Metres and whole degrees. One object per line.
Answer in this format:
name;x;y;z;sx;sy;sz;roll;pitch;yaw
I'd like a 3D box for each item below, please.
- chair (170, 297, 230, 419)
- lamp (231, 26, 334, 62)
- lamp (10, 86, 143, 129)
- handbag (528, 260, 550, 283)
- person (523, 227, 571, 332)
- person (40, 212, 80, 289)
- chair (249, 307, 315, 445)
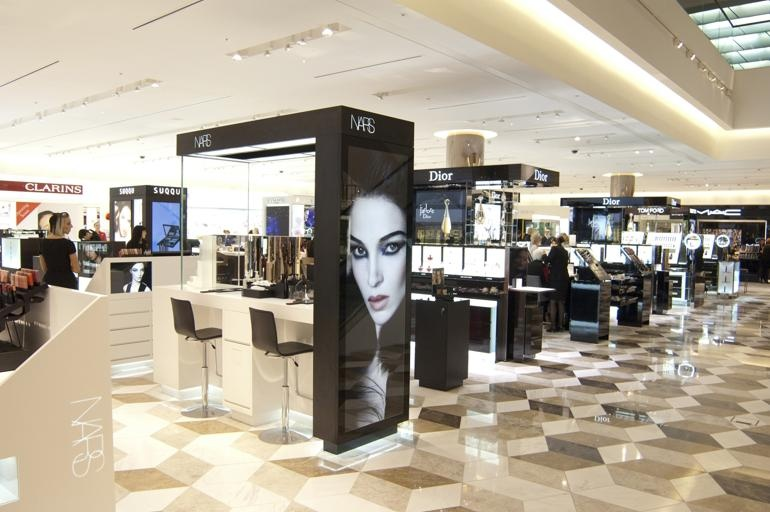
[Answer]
chair;-2.357;1.217;6.726;0.609;1.448;0.755;-2;9;-22
lamp;-1.384;-2.988;7.414;2.022;0.212;0.346;6;9;33
lamp;-6.146;-2.962;10.457;5.135;0.492;0.339;6;9;32
handbag;3.097;0.300;10.741;0.374;0.510;0.280;6;17;23
person;3.374;0.551;10.925;0.808;2.037;1.315;4;8;19
person;-4.612;-0.056;7.491;0.441;1.107;0.645;-4;9;-32
chair;-1.187;1.300;6.084;0.694;1.497;0.674;-1;8;-11
